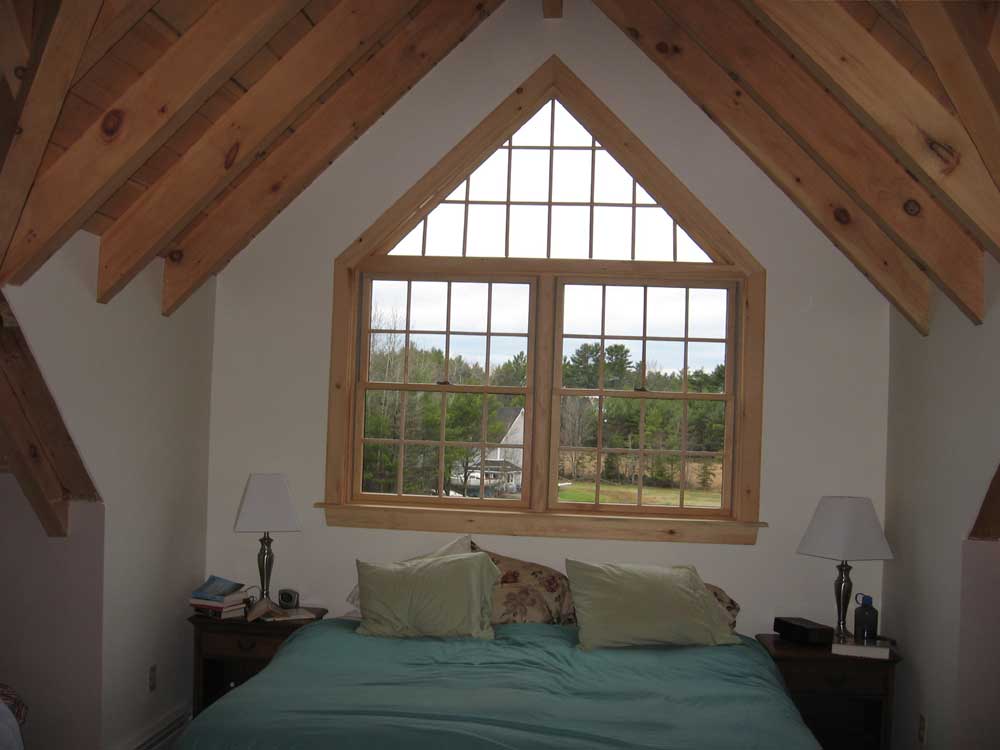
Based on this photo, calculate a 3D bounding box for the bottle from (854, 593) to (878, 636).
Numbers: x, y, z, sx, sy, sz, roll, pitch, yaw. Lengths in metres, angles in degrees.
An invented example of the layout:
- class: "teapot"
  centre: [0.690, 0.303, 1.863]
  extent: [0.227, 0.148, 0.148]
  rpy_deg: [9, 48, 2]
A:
- class: "bottle"
  centre: [1.902, 1.237, 4.857]
  extent: [0.115, 0.190, 0.181]
  rpy_deg: [6, 15, 14]

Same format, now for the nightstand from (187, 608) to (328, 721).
- class: "nightstand"
  centre: [-1.294, 1.437, 5.116]
  extent: [0.720, 0.819, 0.525]
  rpy_deg: [0, -1, 0]

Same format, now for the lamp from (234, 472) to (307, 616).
- class: "lamp"
  centre: [-1.294, 0.921, 5.213]
  extent: [0.342, 0.819, 0.454]
  rpy_deg: [-1, 14, -13]
